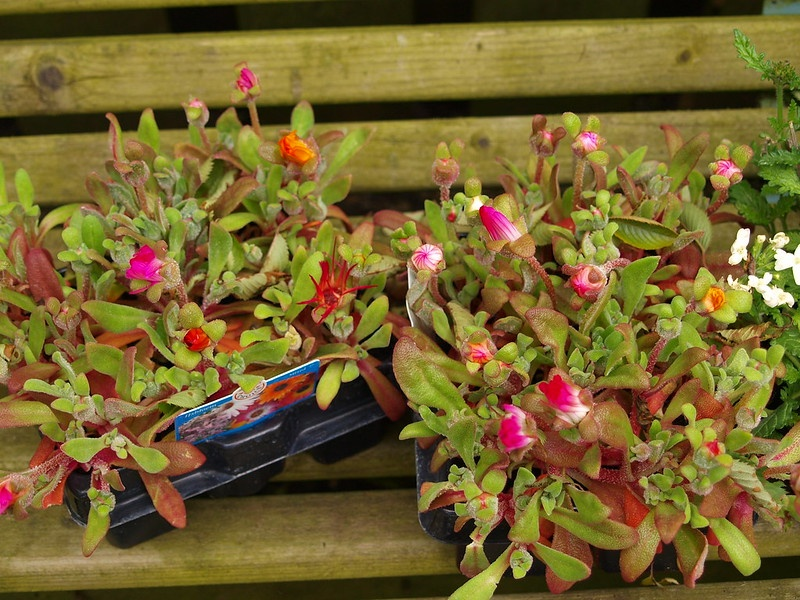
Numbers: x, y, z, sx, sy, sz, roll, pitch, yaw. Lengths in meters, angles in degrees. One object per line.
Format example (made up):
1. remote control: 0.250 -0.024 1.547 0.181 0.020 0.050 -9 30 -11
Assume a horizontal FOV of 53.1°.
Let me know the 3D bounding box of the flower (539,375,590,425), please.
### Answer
1. flower: 0.228 0.139 1.121 0.065 0.028 0.063 -27 57 -13

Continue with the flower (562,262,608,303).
1. flower: 0.277 -0.028 1.177 0.056 0.056 0.025 23 6 8

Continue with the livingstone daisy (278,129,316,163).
1. livingstone daisy: -0.174 -0.253 1.345 0.061 0.028 0.050 25 55 24
